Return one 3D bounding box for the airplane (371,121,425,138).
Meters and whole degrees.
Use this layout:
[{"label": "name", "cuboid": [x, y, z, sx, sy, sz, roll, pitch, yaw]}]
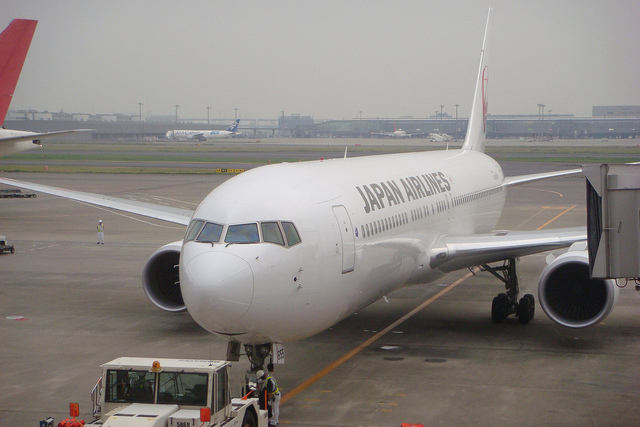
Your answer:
[{"label": "airplane", "cuboid": [26.156, -27.307, 248.836, 12.233, 4.355, 11.580, -1, -1, -1]}]
